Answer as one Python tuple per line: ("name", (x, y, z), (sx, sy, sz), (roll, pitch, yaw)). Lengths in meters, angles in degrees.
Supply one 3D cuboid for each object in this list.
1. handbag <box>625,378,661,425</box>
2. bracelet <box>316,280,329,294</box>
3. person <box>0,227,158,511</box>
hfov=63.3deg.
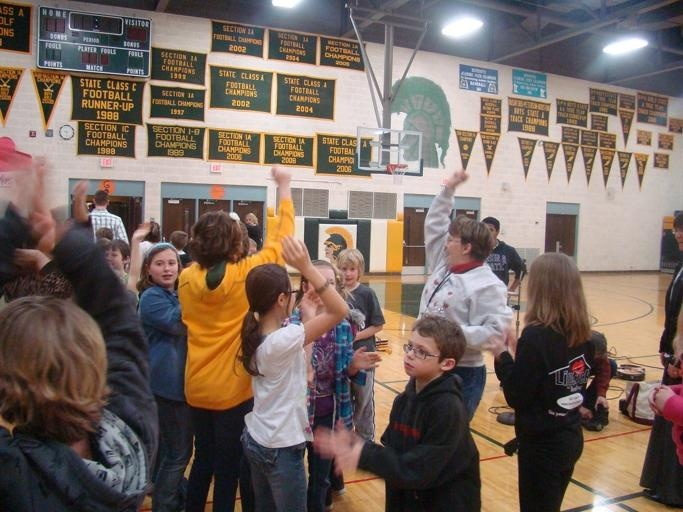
("handbag", (2.865, 1.374, 5.298), (0.412, 0.438, 0.203), (-9, 8, -40))
("bracelet", (-0.081, 0.143, 2.504), (0.052, 0.014, 0.054), (-54, 1, -39))
("person", (-0.805, 0.365, 1.748), (0.434, 0.905, 0.295), (0, 2, -21))
